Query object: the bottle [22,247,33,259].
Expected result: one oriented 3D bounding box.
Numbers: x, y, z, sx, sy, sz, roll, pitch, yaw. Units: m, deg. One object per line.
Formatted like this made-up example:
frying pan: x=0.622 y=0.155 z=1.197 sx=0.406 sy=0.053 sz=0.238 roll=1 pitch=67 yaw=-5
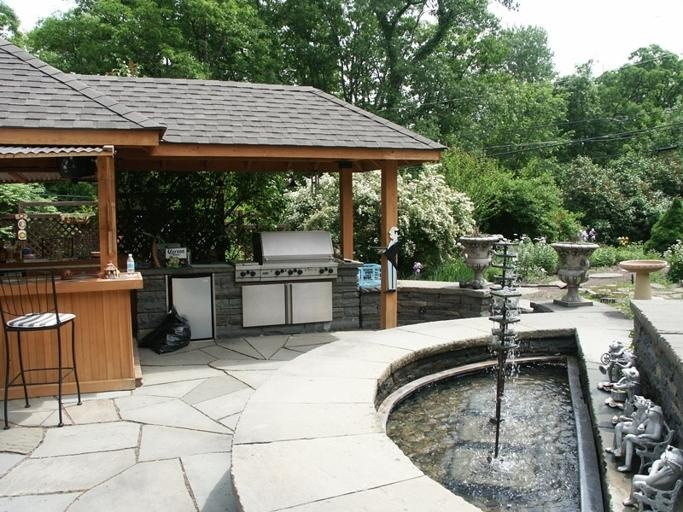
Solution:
bottle: x=-5.096 y=-0.058 z=9.013 sx=0.208 sy=0.150 sz=0.184 roll=-1 pitch=-1 yaw=-6
